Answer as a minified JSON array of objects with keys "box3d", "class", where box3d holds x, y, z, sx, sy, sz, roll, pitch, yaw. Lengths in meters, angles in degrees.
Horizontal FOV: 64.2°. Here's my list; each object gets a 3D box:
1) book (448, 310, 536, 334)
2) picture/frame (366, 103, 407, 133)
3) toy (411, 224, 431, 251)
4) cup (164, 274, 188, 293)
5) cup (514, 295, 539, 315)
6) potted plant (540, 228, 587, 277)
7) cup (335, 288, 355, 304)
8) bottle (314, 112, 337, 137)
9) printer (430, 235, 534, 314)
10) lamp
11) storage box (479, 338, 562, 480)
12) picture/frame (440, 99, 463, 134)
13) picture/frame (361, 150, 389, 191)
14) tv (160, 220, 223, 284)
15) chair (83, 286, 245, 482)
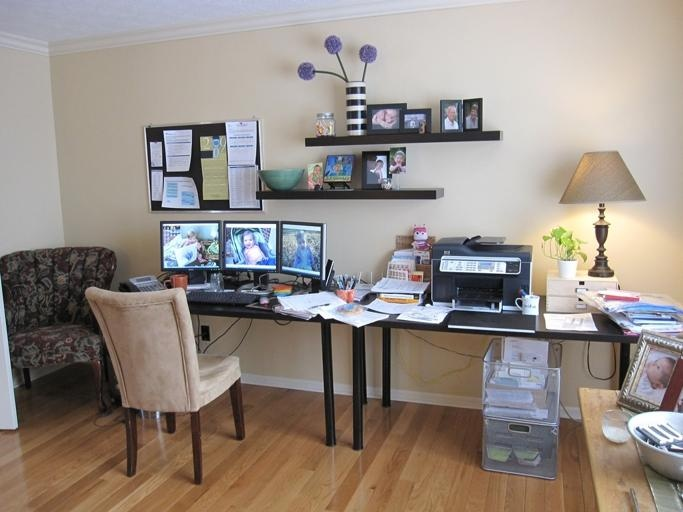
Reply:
[{"box3d":[0.856,0.371,3.070,0.497,0.056,0.292,-1,10,12],"class":"book"},{"box3d":[0.319,-0.928,3.655,0.204,0.172,0.015,1,5,13],"class":"picture/frame"},{"box3d":[0.551,-0.125,3.738,0.153,0.204,0.143,2,8,14],"class":"toy"},{"box3d":[-1.082,0.182,3.602,0.146,0.100,0.093,-6,12,-40],"class":"cup"},{"box3d":[1.073,0.286,3.130,0.135,0.104,0.087,0,3,28],"class":"cup"},{"box3d":[1.378,-0.060,3.441,0.321,0.367,0.324,2,7,20],"class":"potted plant"},{"box3d":[0.023,0.250,3.457,0.085,0.070,0.083,2,3,0],"class":"cup"},{"box3d":[-0.111,-0.895,3.764,0.159,0.180,0.160,-1,3,-6],"class":"bottle"},{"box3d":[0.862,0.000,3.316,0.582,0.405,0.413,2,8,22],"class":"printer"},{"box3d":[1.555,-0.251,3.265,0.316,0.744,0.350,-9,13,-31],"class":"lamp"},{"box3d":[1.025,0.921,3.100,0.416,0.663,0.162,1,11,18],"class":"storage box"},{"box3d":[0.727,-0.920,3.557,0.142,0.207,0.057,-1,11,12],"class":"picture/frame"},{"box3d":[0.243,-0.589,3.746,0.279,0.372,0.035,1,-2,6],"class":"picture/frame"},{"box3d":[-1.070,-0.038,3.933,0.449,0.438,0.150,0,-1,6],"class":"tv"},{"box3d":[-1.033,0.712,3.309,0.643,1.208,0.778,3,10,18],"class":"chair"}]
